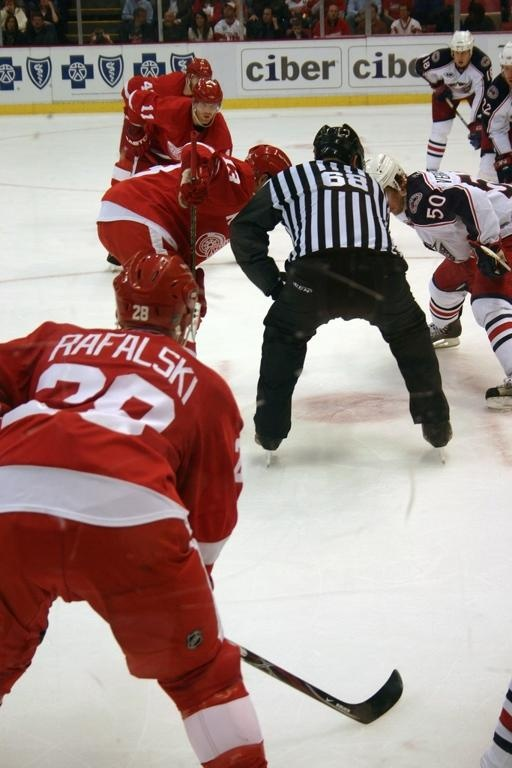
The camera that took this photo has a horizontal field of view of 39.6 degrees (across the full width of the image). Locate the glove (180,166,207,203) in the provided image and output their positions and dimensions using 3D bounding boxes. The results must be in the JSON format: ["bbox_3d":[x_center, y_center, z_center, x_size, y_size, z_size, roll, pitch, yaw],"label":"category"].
[{"bbox_3d":[-0.225,-0.709,2.514,0.100,0.124,0.058,3,20,9],"label":"glove"}]

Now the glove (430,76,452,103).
[{"bbox_3d":[1.707,-2.724,6.610,0.167,0.083,0.223,-31,71,-2],"label":"glove"}]

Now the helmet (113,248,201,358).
[{"bbox_3d":[-0.142,-0.162,1.344,0.148,0.175,0.178,4,6,8],"label":"helmet"}]

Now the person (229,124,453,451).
[{"bbox_3d":[0.295,-0.263,2.469,0.752,0.967,0.378,-2,25,-3],"label":"person"}]

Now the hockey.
[{"bbox_3d":[0.119,0.606,1.441,0.429,0.093,0.113,22,38,-20],"label":"hockey"}]

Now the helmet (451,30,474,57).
[{"bbox_3d":[1.839,-3.041,6.421,0.216,0.264,0.249,4,67,13],"label":"helmet"}]

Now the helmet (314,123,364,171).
[{"bbox_3d":[0.283,-0.821,2.501,0.169,0.169,0.198,5,12,17],"label":"helmet"}]
